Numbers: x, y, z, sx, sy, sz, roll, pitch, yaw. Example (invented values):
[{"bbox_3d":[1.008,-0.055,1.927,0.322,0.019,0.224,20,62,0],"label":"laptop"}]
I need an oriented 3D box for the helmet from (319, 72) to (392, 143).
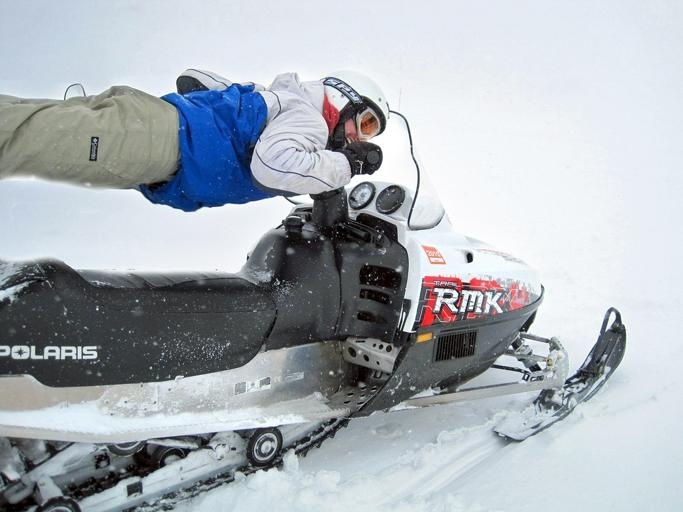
[{"bbox_3d":[0.112,-1.168,4.651,0.578,0.542,0.461,4,-9,34],"label":"helmet"}]
